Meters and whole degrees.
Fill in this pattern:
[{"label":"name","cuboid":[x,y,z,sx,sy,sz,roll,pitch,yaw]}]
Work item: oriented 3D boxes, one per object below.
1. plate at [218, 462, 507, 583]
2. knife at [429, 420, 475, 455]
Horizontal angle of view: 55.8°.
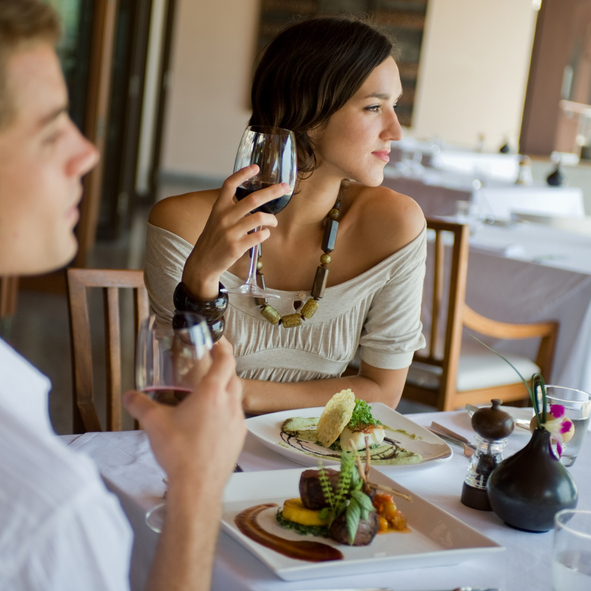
[{"label":"plate","cuboid":[0.052,0.294,0.750,0.302,0.035,0.289,3,6,-25]},{"label":"knife","cuboid":[0.307,0.275,1.096,0.023,0.022,0.126,-34,14,-11]}]
